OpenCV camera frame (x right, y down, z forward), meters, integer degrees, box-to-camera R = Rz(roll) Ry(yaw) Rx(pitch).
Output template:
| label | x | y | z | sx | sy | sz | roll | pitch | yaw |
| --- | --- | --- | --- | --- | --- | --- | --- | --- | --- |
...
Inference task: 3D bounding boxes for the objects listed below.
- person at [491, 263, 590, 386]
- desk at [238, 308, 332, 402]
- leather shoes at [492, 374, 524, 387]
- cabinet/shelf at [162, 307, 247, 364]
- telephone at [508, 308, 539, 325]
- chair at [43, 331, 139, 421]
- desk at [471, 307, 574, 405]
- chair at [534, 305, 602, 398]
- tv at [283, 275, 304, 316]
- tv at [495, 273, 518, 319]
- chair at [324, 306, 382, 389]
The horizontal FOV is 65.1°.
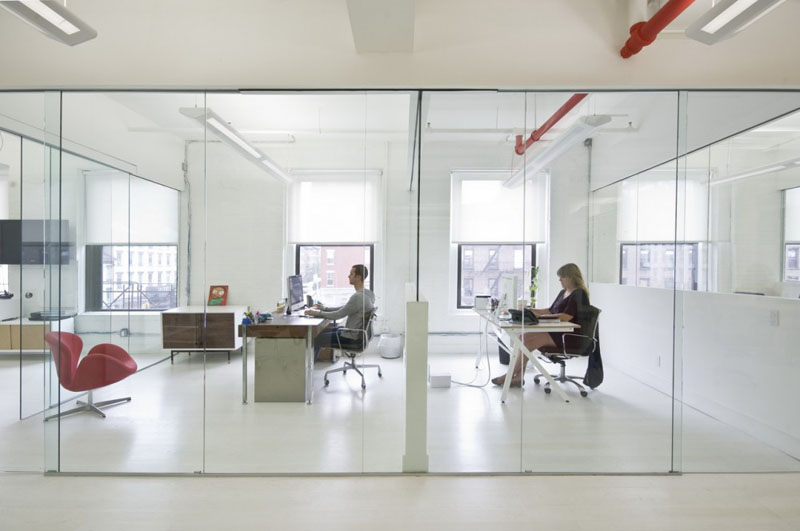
| label | x | y | z | sx | sy | sz | roll | pitch | yaw |
| --- | --- | --- | --- | --- | --- | --- | --- | --- | --- |
| person | 1.091 | 0.445 | 6.173 | 1.206 | 1.453 | 0.661 | 0 | -2 | 3 |
| desk | -1.076 | 0.731 | 5.723 | 0.643 | 0.612 | 1.252 | 0 | -1 | -4 |
| leather shoes | 0.943 | 0.998 | 5.431 | 0.258 | 0.068 | 0.109 | 6 | -5 | -6 |
| cabinet/shelf | -1.757 | 0.613 | 5.660 | 0.683 | 0.432 | 0.391 | 0 | 3 | 9 |
| telephone | 1.084 | 0.438 | 5.444 | 0.217 | 0.134 | 0.128 | 0 | 1 | -4 |
| chair | -2.734 | 0.960 | 5.826 | 0.823 | 0.823 | 0.696 | 1 | -1 | -13 |
| desk | 1.148 | 0.656 | 5.752 | 0.683 | 0.618 | 1.271 | 0 | 1 | -2 |
| chair | 1.496 | 0.741 | 5.641 | 0.613 | 0.749 | 0.552 | 1 | -1 | 17 |
| tv | -0.951 | 0.239 | 5.498 | 0.117 | 0.355 | 0.357 | 2 | 1 | 20 |
| tv | 0.922 | 0.241 | 5.419 | 0.124 | 0.380 | 0.380 | -1 | 3 | -10 |
| chair | -0.343 | 0.713 | 5.594 | 0.638 | 0.875 | 0.658 | 2 | -4 | -8 |
